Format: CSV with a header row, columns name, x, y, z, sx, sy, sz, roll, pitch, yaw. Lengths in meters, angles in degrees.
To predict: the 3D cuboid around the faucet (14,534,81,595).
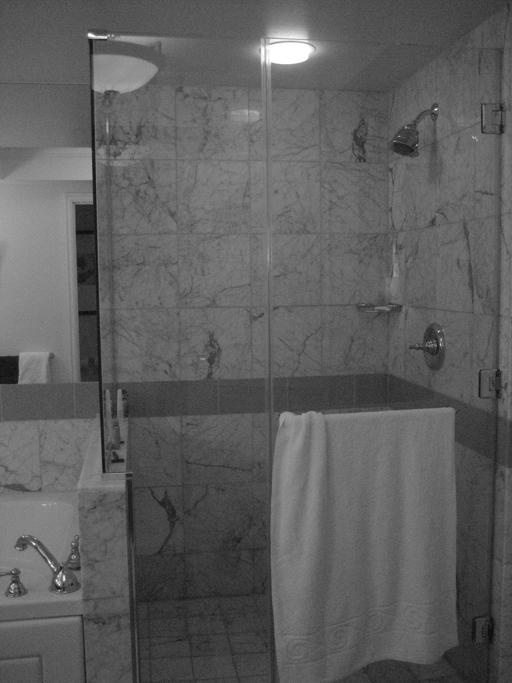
name,x,y,z,sx,sy,sz,roll,pitch,yaw
faucet,-0.601,0.631,2.123,0.093,0.105,0.271,7,9,-45
